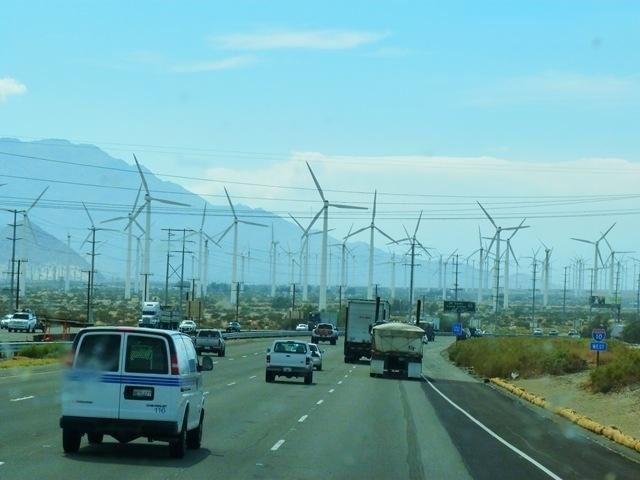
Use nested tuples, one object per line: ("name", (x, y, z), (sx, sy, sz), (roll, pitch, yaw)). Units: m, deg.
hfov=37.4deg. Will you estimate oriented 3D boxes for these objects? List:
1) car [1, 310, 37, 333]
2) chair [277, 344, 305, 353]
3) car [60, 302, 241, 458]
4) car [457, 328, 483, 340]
("car", (-26.312, 7.212, 84.229), (1.766, 1.388, 3.169), (0, -11, 2))
("chair", (-1.438, 5.199, 45.236), (0.909, 0.525, 0.592), (-3, -4, 6))
("car", (-5.188, 4.203, 26.044), (3.811, 3.539, 1.646), (3, -7, -16))
("car", (18.194, 11.528, 115.841), (1.804, 1.419, 2.795), (1, 10, 28))
